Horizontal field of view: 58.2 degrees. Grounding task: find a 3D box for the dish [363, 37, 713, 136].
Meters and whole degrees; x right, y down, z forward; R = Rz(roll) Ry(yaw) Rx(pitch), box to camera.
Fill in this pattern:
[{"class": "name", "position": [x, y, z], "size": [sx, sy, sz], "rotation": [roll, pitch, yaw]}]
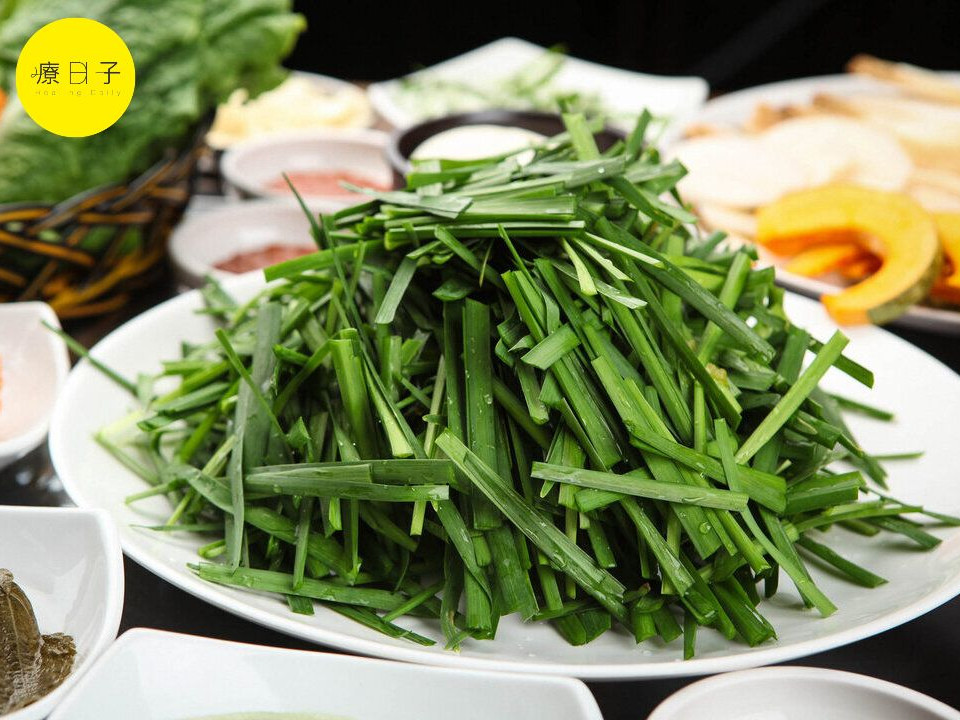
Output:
[{"class": "dish", "position": [0.143, -0.649, 2.101], "size": [0.636, 0.086, 0.623], "rotation": [-16, 41, -21]}]
